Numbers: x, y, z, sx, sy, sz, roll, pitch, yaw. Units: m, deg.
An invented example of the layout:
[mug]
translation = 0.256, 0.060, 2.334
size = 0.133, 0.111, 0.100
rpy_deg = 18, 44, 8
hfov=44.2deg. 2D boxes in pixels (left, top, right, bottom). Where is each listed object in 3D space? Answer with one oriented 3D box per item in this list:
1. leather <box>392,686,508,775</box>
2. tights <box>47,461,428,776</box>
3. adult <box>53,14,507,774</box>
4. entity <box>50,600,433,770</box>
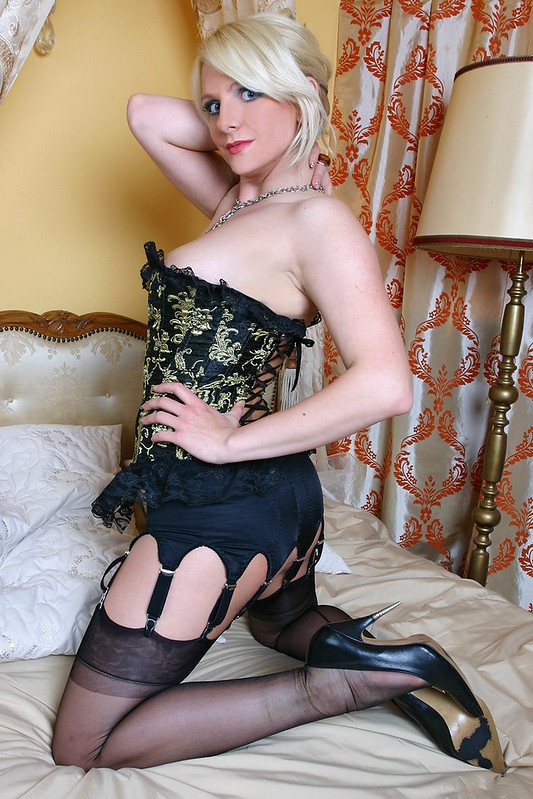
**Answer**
[leather]
translation = 0.295, 0.497, 1.017
size = 0.113, 0.067, 0.295
rpy_deg = -11, -8, -10
[tights]
translation = -0.007, 0.297, 1.148
size = 0.491, 0.500, 0.447
rpy_deg = 9, 1, 12
[adult]
translation = 0.058, -0.013, 1.075
size = 0.737, 1.138, 0.519
rpy_deg = 3, 10, 8
[entity]
translation = -0.072, 0.363, 0.951
size = 0.369, 0.094, 0.271
rpy_deg = -4, -4, -1
